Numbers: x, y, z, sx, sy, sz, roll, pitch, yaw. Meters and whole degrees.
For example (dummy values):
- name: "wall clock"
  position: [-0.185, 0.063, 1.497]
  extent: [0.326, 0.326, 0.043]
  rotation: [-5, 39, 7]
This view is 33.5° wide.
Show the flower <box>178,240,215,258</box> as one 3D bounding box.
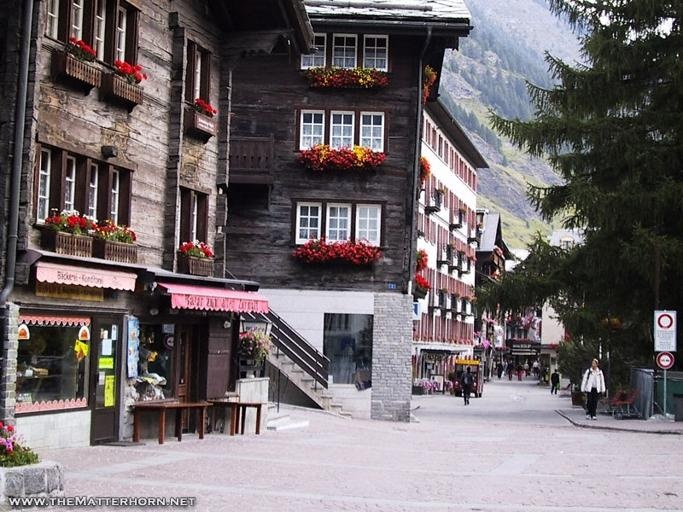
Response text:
- name: "flower"
  position: [-3.970, -0.205, 30.121]
  extent: [0.435, 0.289, 0.595]
  rotation: [7, -3, 30]

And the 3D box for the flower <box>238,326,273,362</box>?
- name: "flower"
  position: [-2.552, 2.539, 33.105]
  extent: [0.782, 0.630, 0.807]
  rotation: [1, 7, -34]

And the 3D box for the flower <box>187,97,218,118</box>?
- name: "flower"
  position: [-3.791, -4.085, 30.676]
  extent: [0.454, 0.283, 0.585]
  rotation: [27, -9, 28]

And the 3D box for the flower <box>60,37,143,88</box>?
- name: "flower"
  position: [-5.646, -4.569, 26.865]
  extent: [0.695, 0.635, 2.367]
  rotation: [8, -4, 30]

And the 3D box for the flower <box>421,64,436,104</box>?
- name: "flower"
  position: [3.221, -6.375, 41.835]
  extent: [0.815, 1.381, 0.462]
  rotation: [6, 10, 7]

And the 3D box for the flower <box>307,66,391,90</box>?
- name: "flower"
  position: [0.263, -6.412, 40.715]
  extent: [2.803, 0.707, 0.707]
  rotation: [6, 4, 15]

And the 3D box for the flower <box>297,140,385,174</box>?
- name: "flower"
  position: [0.031, -3.455, 40.424]
  extent: [2.962, 1.079, 0.796]
  rotation: [5, 4, -4]
